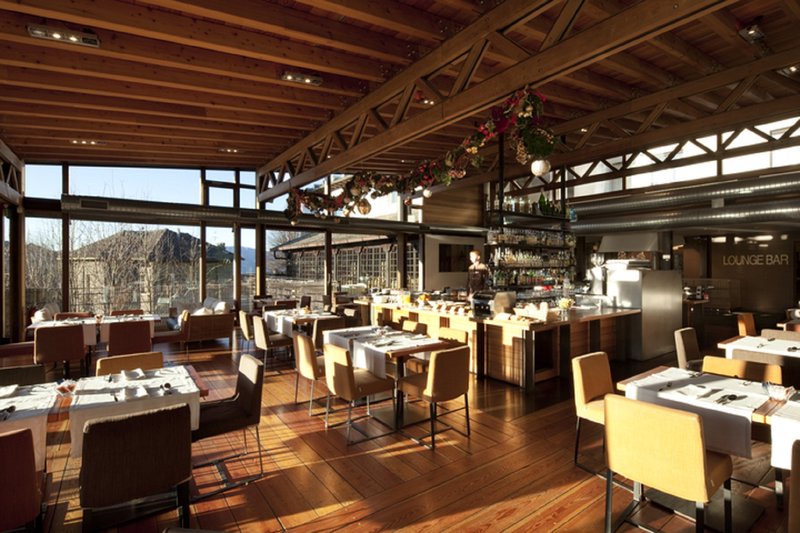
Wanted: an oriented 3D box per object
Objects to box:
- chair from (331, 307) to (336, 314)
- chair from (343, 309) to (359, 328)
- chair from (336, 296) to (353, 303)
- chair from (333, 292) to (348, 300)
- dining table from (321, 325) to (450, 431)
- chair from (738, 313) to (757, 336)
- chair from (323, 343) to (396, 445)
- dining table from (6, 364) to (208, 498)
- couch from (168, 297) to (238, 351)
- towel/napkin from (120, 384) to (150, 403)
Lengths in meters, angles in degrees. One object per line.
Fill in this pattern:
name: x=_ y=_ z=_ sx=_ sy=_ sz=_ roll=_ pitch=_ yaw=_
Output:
chair: x=-1.523 y=0.996 z=11.866 sx=0.140 sy=0.163 sz=0.179 roll=-1 pitch=0 yaw=-22
chair: x=-1.099 y=1.126 z=11.343 sx=0.234 sy=0.360 sz=0.441 roll=-5 pitch=6 yaw=-31
chair: x=-1.466 y=0.863 z=13.731 sx=0.287 sy=0.161 sz=0.585 roll=-3 pitch=1 yaw=29
chair: x=-1.583 y=0.816 z=13.906 sx=0.359 sy=0.305 sz=0.234 roll=0 pitch=1 yaw=-16
dining table: x=-0.402 y=1.289 z=7.493 sx=1.331 sy=0.961 sz=1.895 roll=0 pitch=0 yaw=-34
chair: x=5.514 y=0.924 z=8.319 sx=0.204 sy=0.332 sz=0.646 roll=-3 pitch=1 yaw=36
chair: x=-0.659 y=1.684 z=7.442 sx=0.912 sy=1.155 sz=1.276 roll=-4 pitch=1 yaw=-13
dining table: x=-3.510 y=1.700 z=6.234 sx=2.231 sy=0.490 sz=1.443 roll=-6 pitch=22 yaw=-36
couch: x=-4.188 y=1.185 z=11.246 sx=0.920 sy=0.714 sz=1.522 roll=1 pitch=-3 yaw=-30
towel/napkin: x=-3.037 y=1.430 z=5.925 sx=0.299 sy=0.173 sz=0.414 roll=-4 pitch=1 yaw=-28
